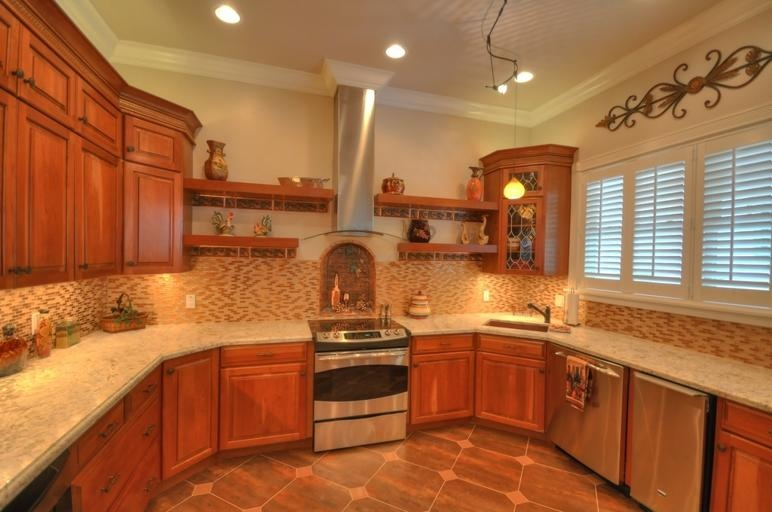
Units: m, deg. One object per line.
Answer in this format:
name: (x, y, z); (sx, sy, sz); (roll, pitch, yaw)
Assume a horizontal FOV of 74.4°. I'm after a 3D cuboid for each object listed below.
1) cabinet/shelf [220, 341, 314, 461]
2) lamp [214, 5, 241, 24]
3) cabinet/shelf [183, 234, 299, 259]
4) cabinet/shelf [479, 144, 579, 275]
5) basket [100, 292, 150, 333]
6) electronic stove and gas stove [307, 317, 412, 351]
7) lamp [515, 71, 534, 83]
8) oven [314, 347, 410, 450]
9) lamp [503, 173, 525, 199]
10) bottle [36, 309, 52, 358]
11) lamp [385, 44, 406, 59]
cabinet/shelf: (-1.217, 1.269, 5.195); (1.193, 1.343, 0.912); (1, -4, -24)
lamp: (-1.460, -2.217, 4.684); (0.204, 0.084, 0.210); (3, 1, 44)
cabinet/shelf: (-1.464, -0.095, 5.218); (1.130, 0.224, 0.291); (2, 1, -15)
cabinet/shelf: (1.620, -0.515, 5.788); (1.001, 1.438, 0.248); (2, 2, 17)
basket: (-2.532, 0.542, 4.951); (0.188, 0.355, 0.392); (11, 9, 35)
electronic stove and gas stove: (-0.288, 0.814, 5.264); (1.003, 0.254, 0.553); (2, 1, -13)
lamp: (1.493, -1.914, 5.452); (0.189, 0.056, 0.261); (2, 1, 13)
oven: (-0.296, 1.322, 5.406); (1.210, 1.140, 0.879); (0, -4, -19)
lamp: (1.399, -0.754, 5.476); (0.223, 0.290, 0.646); (2, 1, 14)
bottle: (-2.889, 0.650, 4.281); (0.111, 0.380, 0.127); (1, 2, -36)
lamp: (0.097, -2.045, 5.105); (0.207, 0.068, 0.200); (2, 1, -1)
